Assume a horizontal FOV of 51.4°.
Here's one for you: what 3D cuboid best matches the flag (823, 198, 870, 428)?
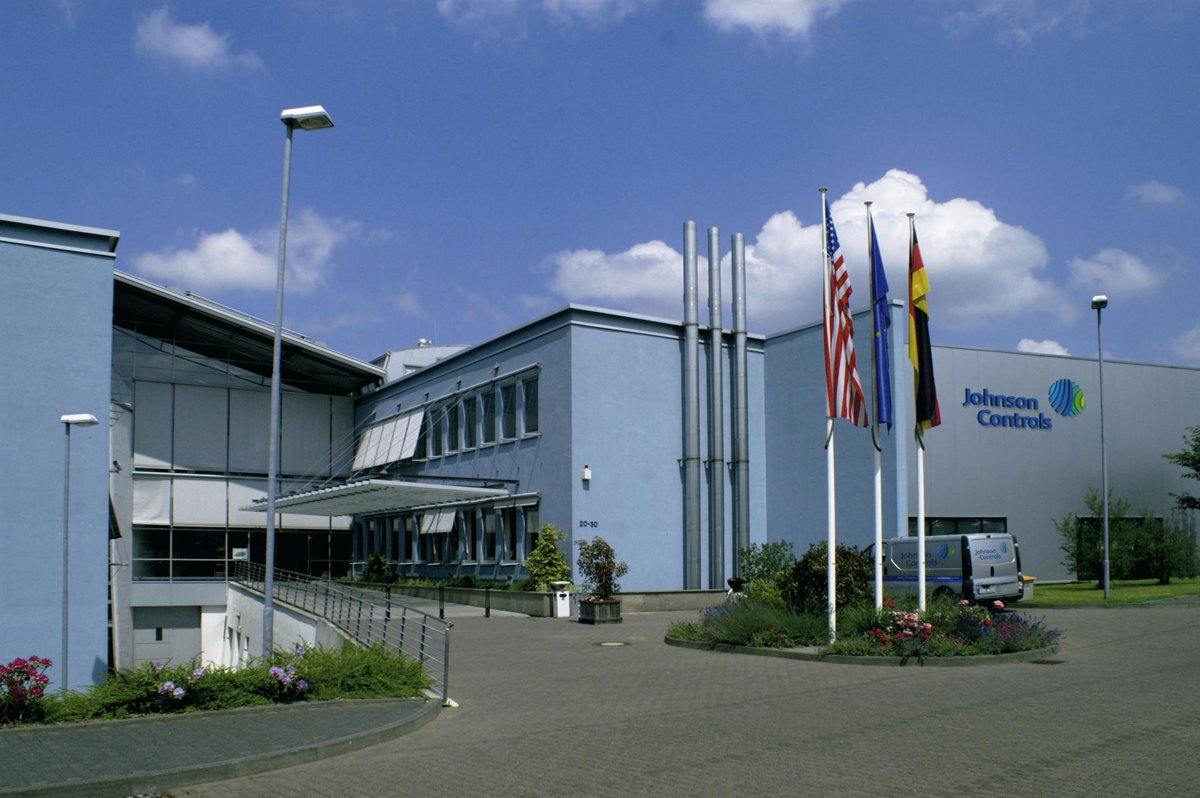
[{"bbox_3d":[5.867,-2.026,30.564,0.828,5.328,2.130,-5,-11,11],"label":"flag"}]

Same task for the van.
[{"bbox_3d":[10.523,5.057,38.414,2.718,2.402,4.322,6,-6,-41],"label":"van"}]

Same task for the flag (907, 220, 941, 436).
[{"bbox_3d":[7.976,-1.637,31.085,0.605,5.367,4.760,-5,-11,14],"label":"flag"}]

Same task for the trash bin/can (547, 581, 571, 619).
[{"bbox_3d":[-1.281,6.745,42.108,0.976,1.415,0.984,-1,-11,4],"label":"trash bin/can"}]

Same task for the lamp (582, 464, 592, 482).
[{"bbox_3d":[-0.408,2.770,46.649,0.530,0.613,0.197,8,-15,-43],"label":"lamp"}]
